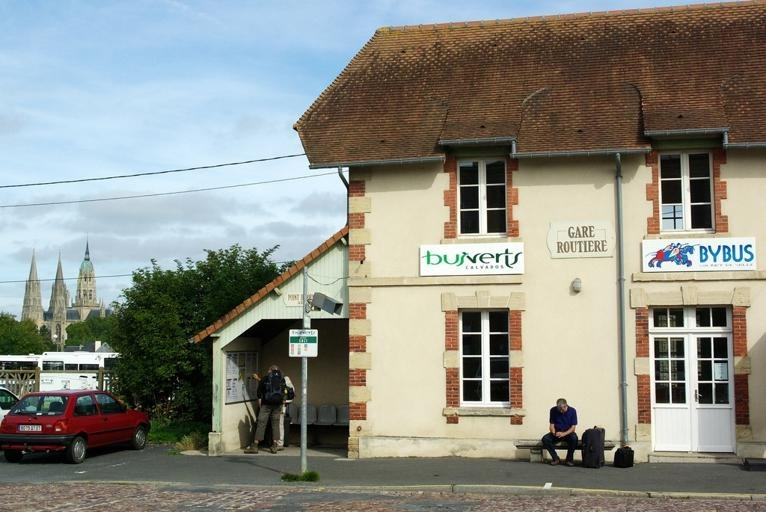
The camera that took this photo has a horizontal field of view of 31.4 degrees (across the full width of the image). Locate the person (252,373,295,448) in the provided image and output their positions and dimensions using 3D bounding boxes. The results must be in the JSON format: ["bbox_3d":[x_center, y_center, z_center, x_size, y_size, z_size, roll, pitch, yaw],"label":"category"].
[{"bbox_3d":[-3.216,4.363,39.438,1.016,2.366,1.024,10,-10,-24],"label":"person"}]

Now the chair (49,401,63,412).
[{"bbox_3d":[-8.990,4.199,37.743,0.297,0.261,0.282,3,-14,-4],"label":"chair"}]

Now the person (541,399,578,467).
[{"bbox_3d":[4.727,4.729,36.466,0.932,1.728,0.744,-1,14,5],"label":"person"}]

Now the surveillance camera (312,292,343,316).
[{"bbox_3d":[-1.479,1.303,37.001,0.676,0.337,0.396,7,0,36],"label":"surveillance camera"}]

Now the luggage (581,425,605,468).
[{"bbox_3d":[5.595,5.153,36.458,0.683,1.001,0.782,0,-6,3],"label":"luggage"}]
